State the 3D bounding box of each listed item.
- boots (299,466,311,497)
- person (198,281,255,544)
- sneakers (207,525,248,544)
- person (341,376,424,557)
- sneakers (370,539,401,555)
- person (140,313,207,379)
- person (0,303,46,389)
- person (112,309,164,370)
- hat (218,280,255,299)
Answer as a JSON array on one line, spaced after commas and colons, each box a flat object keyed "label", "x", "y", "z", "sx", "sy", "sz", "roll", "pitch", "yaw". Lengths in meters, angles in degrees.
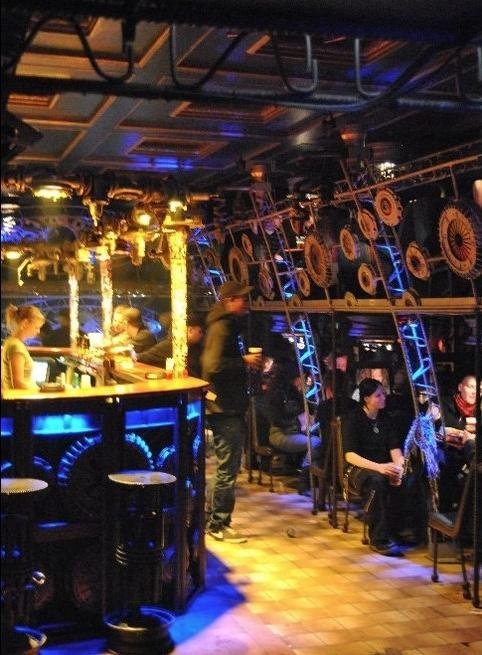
[{"label": "boots", "x": 0.785, "y": 1.909, "z": 9.302, "sx": 0.149, "sy": 0.224, "sz": 0.321, "roll": 2, "pitch": 1, "yaw": 2}, {"label": "person", "x": -0.180, "y": 0.817, "z": 7.317, "sx": 0.457, "sy": 2.519, "sz": 0.413, "roll": 2, "pitch": 1, "yaw": -6}, {"label": "sneakers", "x": -0.150, "y": 2.018, "z": 7.313, "sx": 0.393, "sy": 0.140, "sz": 0.127, "roll": 1, "pitch": -1, "yaw": 17}, {"label": "person", "x": 1.308, "y": 1.314, "z": 7.384, "sx": 0.671, "sy": 1.229, "sz": 0.820, "roll": 2, "pitch": 1, "yaw": 11}, {"label": "sneakers", "x": 1.346, "y": 2.070, "z": 7.040, "sx": 0.272, "sy": 0.094, "sz": 0.102, "roll": -2, "pitch": -1, "yaw": 22}, {"label": "person", "x": -0.769, "y": 0.230, "z": 8.530, "sx": 0.394, "sy": 0.866, "sz": 0.833, "roll": -5, "pitch": 14, "yaw": -28}, {"label": "person", "x": -1.959, "y": 0.174, "z": 6.678, "sx": 0.346, "sy": 0.739, "sz": 1.370, "roll": 2, "pitch": 1, "yaw": -15}, {"label": "person", "x": -1.472, "y": 0.242, "z": 10.036, "sx": 0.654, "sy": 0.987, "sz": 0.556, "roll": 8, "pitch": 23, "yaw": 5}, {"label": "hat", "x": -0.046, "y": -0.363, "z": 7.475, "sx": 0.290, "sy": 0.123, "sz": 0.185, "roll": -16, "pitch": 3, "yaw": -2}]
